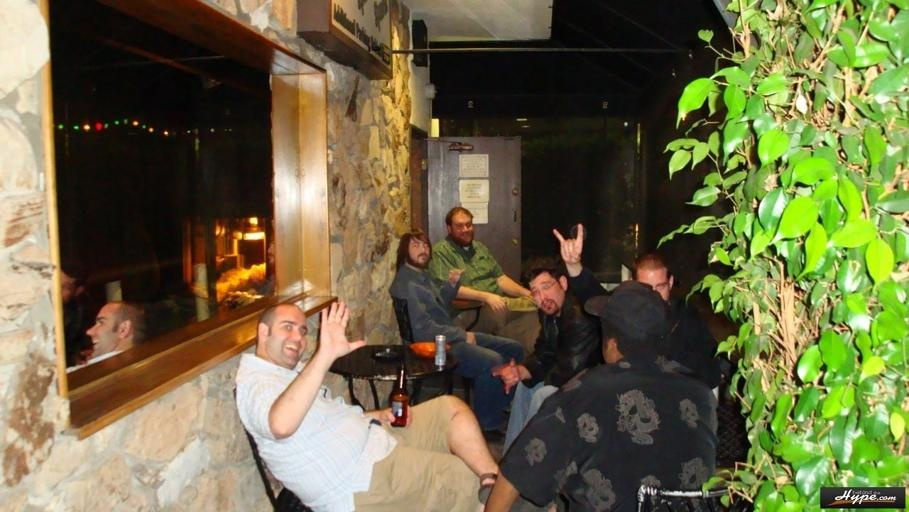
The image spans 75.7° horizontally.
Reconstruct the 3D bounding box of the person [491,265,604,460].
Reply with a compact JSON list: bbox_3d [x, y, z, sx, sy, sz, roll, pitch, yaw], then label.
[{"bbox_3d":[0.715,0.769,4.069,0.821,1.324,0.538,2,-4,5],"label":"person"}]

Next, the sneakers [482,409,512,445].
[{"bbox_3d":[0.327,1.290,4.380,0.138,0.144,0.388,0,-10,-2],"label":"sneakers"}]

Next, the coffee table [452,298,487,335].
[{"bbox_3d":[0.186,0.528,5.531,0.331,0.347,0.339,-16,-1,-13],"label":"coffee table"}]

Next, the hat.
[{"bbox_3d":[0.883,0.218,2.927,0.441,0.195,0.309,17,29,22],"label":"hat"}]
